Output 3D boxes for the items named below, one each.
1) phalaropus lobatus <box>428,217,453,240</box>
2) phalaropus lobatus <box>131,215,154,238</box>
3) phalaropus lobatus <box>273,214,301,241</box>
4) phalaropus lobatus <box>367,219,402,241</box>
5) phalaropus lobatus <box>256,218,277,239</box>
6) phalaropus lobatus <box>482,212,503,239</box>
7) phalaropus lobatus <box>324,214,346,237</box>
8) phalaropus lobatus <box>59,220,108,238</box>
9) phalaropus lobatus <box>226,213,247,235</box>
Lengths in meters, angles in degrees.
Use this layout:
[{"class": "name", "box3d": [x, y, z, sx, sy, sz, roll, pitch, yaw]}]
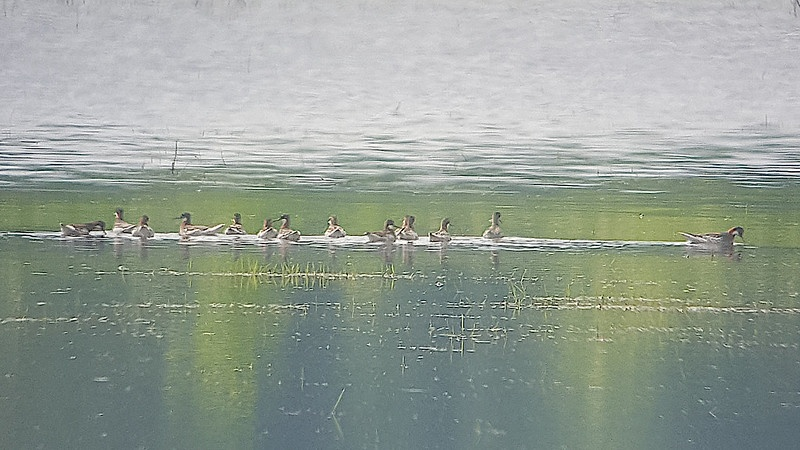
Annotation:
[{"class": "phalaropus lobatus", "box3d": [1.064, 0.120, 21.192, 0.561, 0.635, 0.696, 1, -3, 2]}, {"class": "phalaropus lobatus", "box3d": [-6.753, 0.039, 20.900, 0.538, 0.610, 0.405, 3, -4, -37]}, {"class": "phalaropus lobatus", "box3d": [-3.016, 0.064, 21.251, 0.494, 0.745, 0.785, 3, -4, -27]}, {"class": "phalaropus lobatus", "box3d": [-0.422, 0.151, 21.156, 0.896, 0.651, 0.616, 2, -4, -27]}, {"class": "phalaropus lobatus", "box3d": [-3.478, 0.091, 21.364, 0.453, 0.425, 0.673, 4, 13, 12]}, {"class": "phalaropus lobatus", "box3d": [2.493, -0.011, 21.263, 0.509, 0.723, 0.380, 1, -3, -6]}, {"class": "phalaropus lobatus", "box3d": [-1.790, 0.057, 21.304, 0.474, 0.470, 0.651, -1, 14, -20]}, {"class": "phalaropus lobatus", "box3d": [-8.299, 0.078, 20.848, 1.081, 0.412, 0.405, 5, 1, -33]}, {"class": "phalaropus lobatus", "box3d": [-4.368, -0.036, 21.260, 0.500, 0.565, 0.233, 3, -4, -35]}]
